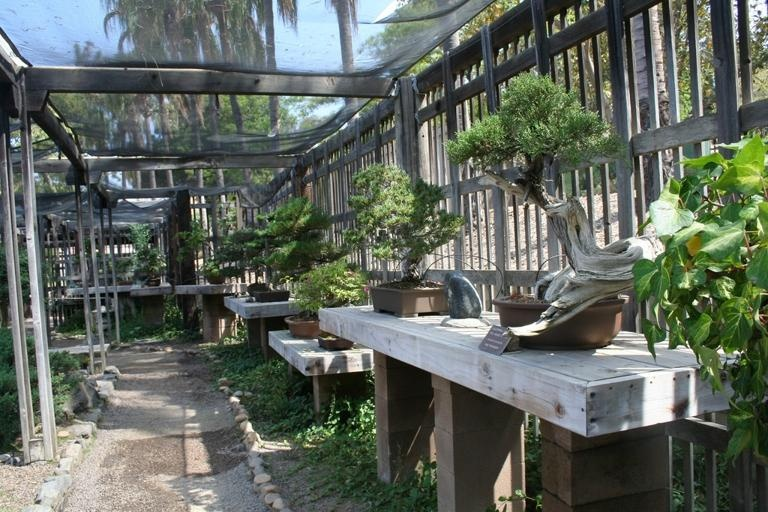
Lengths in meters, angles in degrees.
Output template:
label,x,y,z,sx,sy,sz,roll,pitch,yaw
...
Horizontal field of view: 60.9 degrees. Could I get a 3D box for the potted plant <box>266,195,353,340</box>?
label,x,y,z,sx,sy,sz,roll,pitch,yaw
potted plant,-1.069,0.044,7.676,0.959,1.804,1.185,-6,4,-8

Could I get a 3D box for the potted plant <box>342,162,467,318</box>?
label,x,y,z,sx,sy,sz,roll,pitch,yaw
potted plant,0.251,-0.112,5.230,0.718,1.169,0.880,6,3,-42

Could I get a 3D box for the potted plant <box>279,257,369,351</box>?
label,x,y,z,sx,sy,sz,roll,pitch,yaw
potted plant,-0.782,0.472,6.745,0.537,0.783,0.660,5,-4,-11

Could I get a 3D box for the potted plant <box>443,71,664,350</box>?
label,x,y,z,sx,sy,sz,roll,pitch,yaw
potted plant,0.888,-0.383,3.857,1.076,1.482,1.079,-1,9,33
